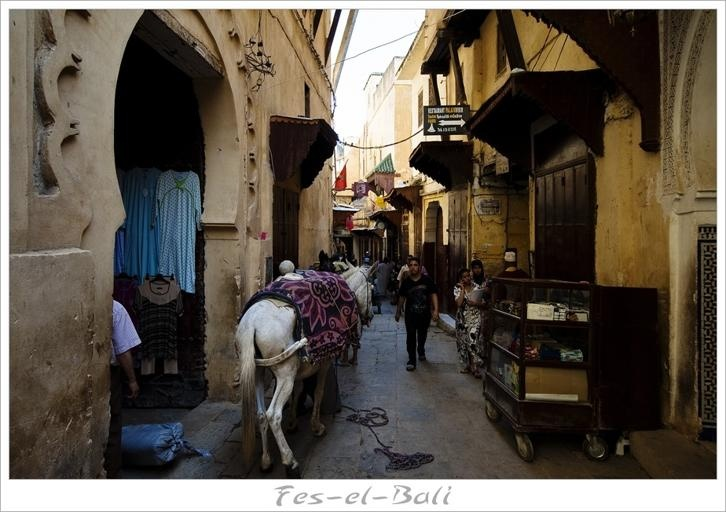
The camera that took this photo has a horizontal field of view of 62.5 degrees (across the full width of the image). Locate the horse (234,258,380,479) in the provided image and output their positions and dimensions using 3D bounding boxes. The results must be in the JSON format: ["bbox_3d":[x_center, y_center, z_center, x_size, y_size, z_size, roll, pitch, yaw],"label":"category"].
[{"bbox_3d":[-0.604,1.198,6.908,0.811,2.065,2.839,2,4,22],"label":"horse"}]

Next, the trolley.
[{"bbox_3d":[2.155,1.142,7.492,1.308,2.846,2.223,1,-2,-3],"label":"trolley"}]

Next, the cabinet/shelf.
[{"bbox_3d":[2.320,1.030,7.047,1.319,1.845,1.789,1,-1,2],"label":"cabinet/shelf"}]
